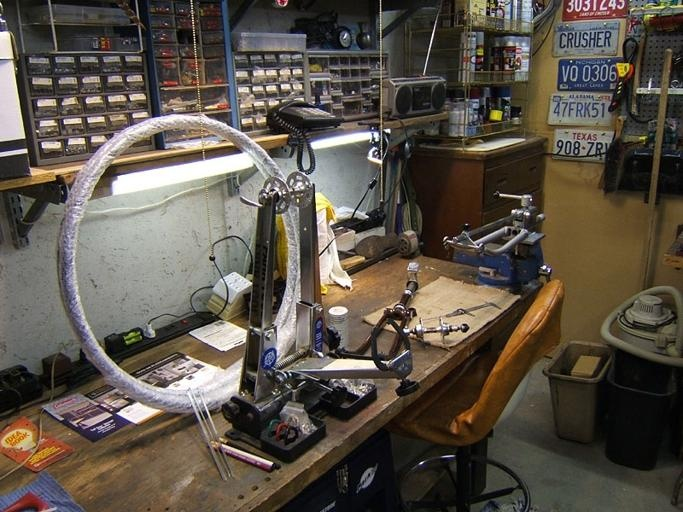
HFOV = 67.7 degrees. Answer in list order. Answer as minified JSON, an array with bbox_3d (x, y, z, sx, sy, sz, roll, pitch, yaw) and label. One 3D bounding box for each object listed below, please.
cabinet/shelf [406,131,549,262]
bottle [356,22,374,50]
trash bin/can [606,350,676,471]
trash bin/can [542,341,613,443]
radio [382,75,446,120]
[{"bbox_3d":[0.873,-0.510,3.300,0.669,1.086,1.188,8,22,28],"label":"cabinet/shelf"},{"bbox_3d":[0.112,-1.112,2.568,0.099,0.140,0.119,14,35,22],"label":"bottle"},{"bbox_3d":[1.525,0.774,2.628,0.312,0.586,0.272,10,23,28],"label":"trash bin/can"},{"bbox_3d":[1.299,0.759,2.788,0.365,0.444,0.602,6,24,29],"label":"trash bin/can"},{"bbox_3d":[0.366,-0.804,2.591,0.417,0.174,0.112,-20,29,-41],"label":"radio"}]
